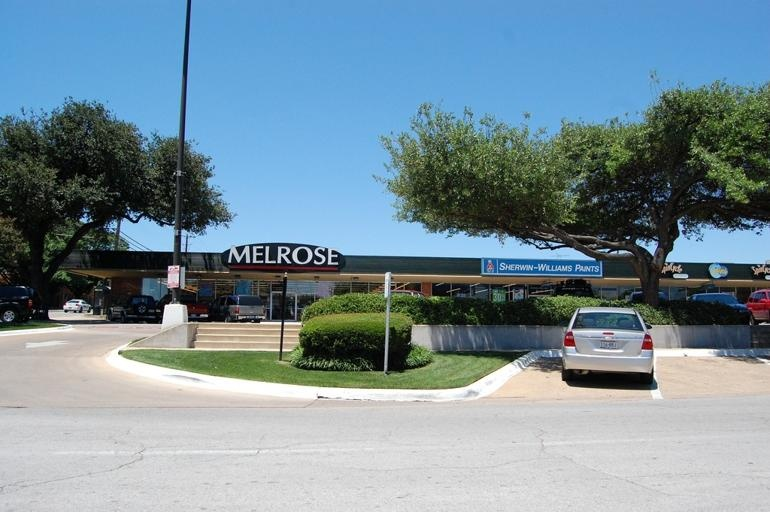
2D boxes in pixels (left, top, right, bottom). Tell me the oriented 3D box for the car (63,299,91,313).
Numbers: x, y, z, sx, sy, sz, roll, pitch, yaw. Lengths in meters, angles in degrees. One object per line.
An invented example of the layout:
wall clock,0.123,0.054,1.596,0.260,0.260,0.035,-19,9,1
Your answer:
car,-36.103,5.689,76.596,2.732,1.396,2.470,7,-8,-41

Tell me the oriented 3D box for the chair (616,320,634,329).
chair,6.442,1.792,17.399,0.246,0.293,0.344,-4,-3,37

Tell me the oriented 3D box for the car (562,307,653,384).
car,5.811,2.226,17.144,1.563,1.179,2.864,0,-2,15
